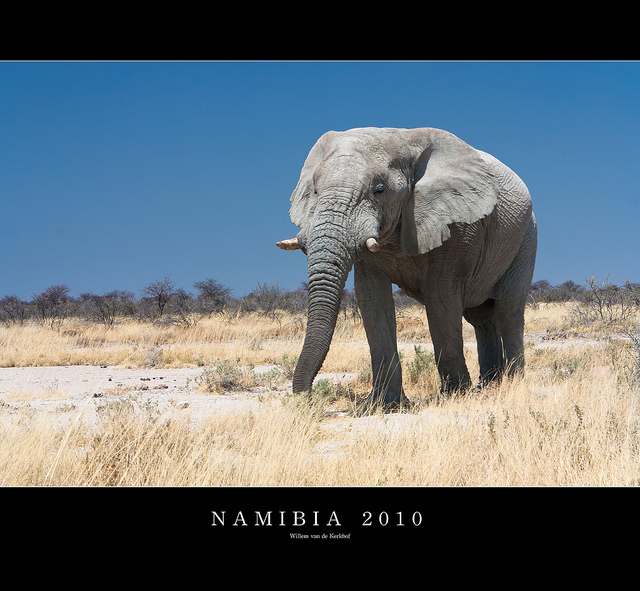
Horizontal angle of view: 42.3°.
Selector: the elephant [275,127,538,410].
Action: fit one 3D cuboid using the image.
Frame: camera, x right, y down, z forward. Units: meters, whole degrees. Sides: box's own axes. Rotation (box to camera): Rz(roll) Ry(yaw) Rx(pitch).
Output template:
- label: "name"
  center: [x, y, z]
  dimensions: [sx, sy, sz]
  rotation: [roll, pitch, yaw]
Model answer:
- label: "elephant"
  center: [1.178, -0.303, 9.171]
  dimensions: [3.206, 3.241, 2.185]
  rotation: [-3, 11, -36]
